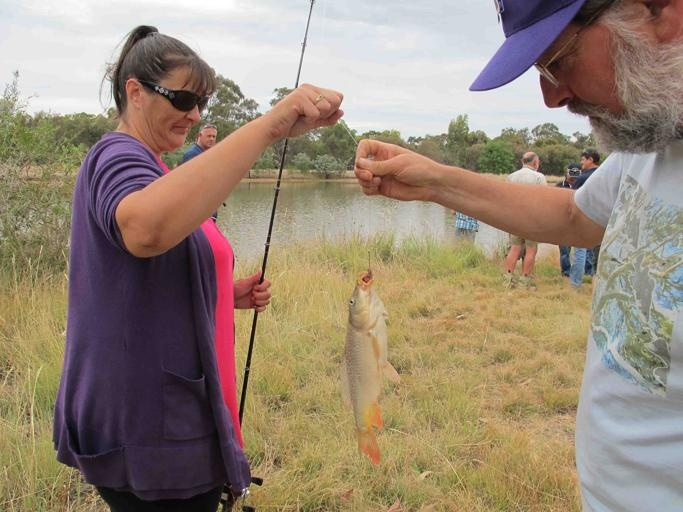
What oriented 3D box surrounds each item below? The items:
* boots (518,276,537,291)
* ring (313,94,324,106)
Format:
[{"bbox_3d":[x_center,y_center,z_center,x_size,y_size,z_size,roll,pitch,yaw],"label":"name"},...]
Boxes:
[{"bbox_3d":[2.910,0.437,9.047,0.225,0.260,0.331,3,7,3],"label":"boots"},{"bbox_3d":[-0.100,-0.700,2.584,0.030,0.048,0.016,21,-5,-35],"label":"ring"}]
